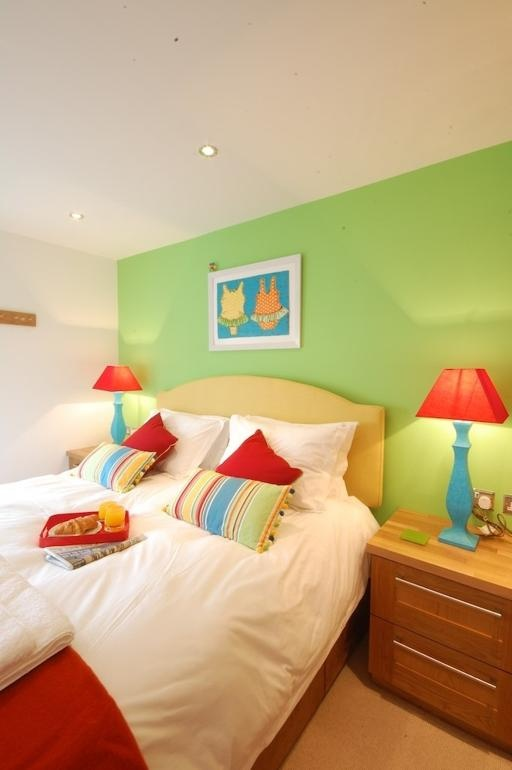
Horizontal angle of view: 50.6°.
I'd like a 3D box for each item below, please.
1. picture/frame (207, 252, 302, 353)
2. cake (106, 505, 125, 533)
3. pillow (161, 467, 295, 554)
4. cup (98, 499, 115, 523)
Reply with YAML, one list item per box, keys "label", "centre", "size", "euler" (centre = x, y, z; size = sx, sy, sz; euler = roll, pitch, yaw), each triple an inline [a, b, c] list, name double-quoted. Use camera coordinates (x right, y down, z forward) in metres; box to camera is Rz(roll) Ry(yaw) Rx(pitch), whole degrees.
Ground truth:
- label: "picture/frame"
  centre: [0.014, -0.480, 3.097]
  size: [0.624, 0.464, 0.015]
  euler: [0, 1, 45]
- label: "cake"
  centre: [-0.536, 0.512, 2.054]
  size: [0.073, 0.082, 0.078]
  euler: [4, 7, -11]
- label: "pillow"
  centre: [-0.107, 0.473, 2.118]
  size: [0.391, 0.086, 0.241]
  euler: [6, 47, 45]
- label: "cup"
  centre: [-0.601, 0.499, 2.138]
  size: [0.057, 0.096, 0.097]
  euler: [5, 1, 2]
